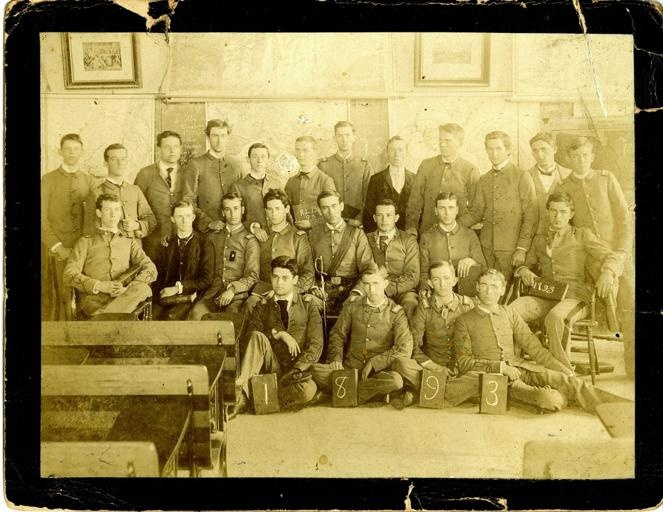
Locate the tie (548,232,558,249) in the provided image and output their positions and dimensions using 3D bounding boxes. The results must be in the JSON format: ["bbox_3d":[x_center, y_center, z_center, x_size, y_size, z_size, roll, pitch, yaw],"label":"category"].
[{"bbox_3d":[1.555,-0.112,5.631,0.075,0.119,0.062,10,7,33],"label":"tie"}]

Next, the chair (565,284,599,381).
[{"bbox_3d":[1.730,0.558,5.546,0.248,0.623,0.129,1,5,-7],"label":"chair"}]

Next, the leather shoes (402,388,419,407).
[{"bbox_3d":[0.541,0.978,5.493,0.110,0.113,0.038,1,-10,-1],"label":"leather shoes"}]

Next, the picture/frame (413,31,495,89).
[{"bbox_3d":[0.850,-1.391,5.592,0.576,0.381,0.120,3,2,4],"label":"picture/frame"}]

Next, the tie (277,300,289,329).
[{"bbox_3d":[-0.346,0.397,5.625,0.051,0.226,0.058,-6,-3,10],"label":"tie"}]

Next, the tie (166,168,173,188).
[{"bbox_3d":[-1.160,-0.556,5.666,0.030,0.136,0.037,1,9,-5],"label":"tie"}]

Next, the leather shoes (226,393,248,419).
[{"bbox_3d":[-0.645,1.037,5.570,0.134,0.175,0.134,21,-6,-16],"label":"leather shoes"}]
